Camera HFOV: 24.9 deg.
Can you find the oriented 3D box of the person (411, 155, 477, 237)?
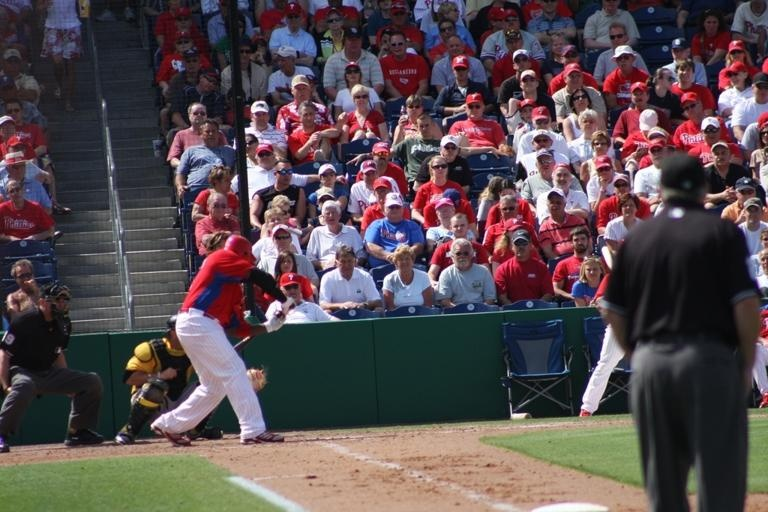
[{"bbox_3d":[0.815,-0.824,27.163,0.889,1.510,0.799,-2,-5,11],"label":"person"}]

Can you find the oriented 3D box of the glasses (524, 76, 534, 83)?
[{"bbox_3d":[2.366,-2.919,28.774,0.108,0.105,0.109,-1,-1,7],"label":"glasses"}]

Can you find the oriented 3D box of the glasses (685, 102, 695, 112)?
[{"bbox_3d":[5.009,-2.455,28.701,0.167,0.074,0.154,16,-28,-30],"label":"glasses"}]

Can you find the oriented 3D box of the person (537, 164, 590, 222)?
[{"bbox_3d":[2.745,-0.894,27.139,0.853,1.156,0.562,0,-9,-12],"label":"person"}]

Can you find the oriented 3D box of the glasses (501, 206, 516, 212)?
[{"bbox_3d":[1.893,-0.715,26.586,0.171,0.081,0.052,-2,-2,3],"label":"glasses"}]

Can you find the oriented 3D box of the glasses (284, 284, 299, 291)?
[{"bbox_3d":[-1.360,0.456,25.190,0.120,0.089,0.197,-1,-14,-2],"label":"glasses"}]

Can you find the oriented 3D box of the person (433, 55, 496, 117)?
[{"bbox_3d":[1.386,-2.876,29.427,1.179,1.039,0.721,-6,-5,23],"label":"person"}]

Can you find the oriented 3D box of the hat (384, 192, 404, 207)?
[{"bbox_3d":[0.121,-0.859,26.634,0.242,0.184,0.353,2,1,-3],"label":"hat"}]

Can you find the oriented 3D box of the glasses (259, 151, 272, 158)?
[{"bbox_3d":[-1.889,-1.597,27.382,0.101,0.099,0.028,-7,-15,-2],"label":"glasses"}]

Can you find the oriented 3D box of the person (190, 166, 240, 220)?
[{"bbox_3d":[-2.550,-0.921,26.320,0.819,0.823,0.479,-2,-3,-30],"label":"person"}]

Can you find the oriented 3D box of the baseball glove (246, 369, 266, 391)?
[{"bbox_3d":[-1.786,1.711,24.150,0.234,0.277,0.316,11,-30,-31],"label":"baseball glove"}]

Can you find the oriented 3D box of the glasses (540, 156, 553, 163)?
[{"bbox_3d":[2.548,-1.529,27.457,0.223,0.086,0.095,-1,-2,-30],"label":"glasses"}]

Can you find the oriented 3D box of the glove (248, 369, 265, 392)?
[{"bbox_3d":[-1.760,1.708,24.152,0.231,0.271,0.311,11,-30,-30],"label":"glove"}]

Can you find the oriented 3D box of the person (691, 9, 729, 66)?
[{"bbox_3d":[5.763,-3.865,30.917,0.679,0.991,0.797,0,9,8],"label":"person"}]

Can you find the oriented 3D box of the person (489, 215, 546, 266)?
[{"bbox_3d":[1.949,-0.218,26.308,0.554,0.452,0.864,0,4,-19],"label":"person"}]

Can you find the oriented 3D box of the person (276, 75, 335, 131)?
[{"bbox_3d":[-1.426,-2.413,28.551,0.963,0.897,0.531,-10,23,23],"label":"person"}]

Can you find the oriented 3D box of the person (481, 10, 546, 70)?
[{"bbox_3d":[2.228,-3.693,30.532,1.262,1.222,0.702,-3,12,-1],"label":"person"}]

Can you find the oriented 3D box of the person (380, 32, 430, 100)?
[{"bbox_3d":[0.298,-3.197,29.933,0.955,1.204,0.812,1,16,12],"label":"person"}]

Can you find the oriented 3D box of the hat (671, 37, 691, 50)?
[{"bbox_3d":[5.054,-3.674,30.231,0.272,0.219,0.418,-1,0,31],"label":"hat"}]

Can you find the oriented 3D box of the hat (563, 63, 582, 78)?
[{"bbox_3d":[3.111,-3.094,29.079,0.266,0.209,0.431,-9,-10,-4],"label":"hat"}]

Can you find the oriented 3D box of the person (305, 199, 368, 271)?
[{"bbox_3d":[-0.763,-0.302,26.545,0.995,1.073,0.674,-7,-12,2],"label":"person"}]

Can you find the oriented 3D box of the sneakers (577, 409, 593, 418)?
[{"bbox_3d":[2.849,2.260,24.968,0.155,0.157,0.099,1,0,16],"label":"sneakers"}]

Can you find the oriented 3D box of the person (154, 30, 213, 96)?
[{"bbox_3d":[-3.216,-3.079,27.681,0.920,1.001,0.238,-3,-2,29],"label":"person"}]

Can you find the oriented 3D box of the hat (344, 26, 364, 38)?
[{"bbox_3d":[-0.545,-3.818,29.747,0.261,0.345,0.413,2,1,-7],"label":"hat"}]

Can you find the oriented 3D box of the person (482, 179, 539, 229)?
[{"bbox_3d":[1.925,-0.778,26.972,0.585,0.707,0.414,-13,-18,9],"label":"person"}]

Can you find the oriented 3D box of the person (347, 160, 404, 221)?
[{"bbox_3d":[-0.221,-1.250,27.785,0.721,1.190,0.376,6,-4,27],"label":"person"}]

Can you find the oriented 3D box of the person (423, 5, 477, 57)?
[{"bbox_3d":[1.093,-3.921,30.615,1.060,1.017,0.605,-7,6,-18],"label":"person"}]

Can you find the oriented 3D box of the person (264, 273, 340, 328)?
[{"bbox_3d":[-1.340,0.721,25.364,1.470,0.817,0.485,-2,-17,-17],"label":"person"}]

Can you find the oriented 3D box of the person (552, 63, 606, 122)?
[{"bbox_3d":[3.196,-2.696,29.139,0.874,1.236,0.678,-6,-19,1],"label":"person"}]

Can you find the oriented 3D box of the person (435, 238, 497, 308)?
[{"bbox_3d":[1.178,0.342,25.913,0.929,1.145,0.656,-5,3,0],"label":"person"}]

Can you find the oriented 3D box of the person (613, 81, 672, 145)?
[{"bbox_3d":[4.190,-2.337,28.786,1.100,1.060,0.642,-5,1,15],"label":"person"}]

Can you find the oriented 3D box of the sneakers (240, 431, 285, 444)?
[{"bbox_3d":[-1.646,2.450,23.370,0.601,0.239,0.202,-1,-1,-10],"label":"sneakers"}]

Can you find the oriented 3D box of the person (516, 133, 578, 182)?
[{"bbox_3d":[2.567,-1.541,27.785,0.783,0.784,0.306,1,-4,-3],"label":"person"}]

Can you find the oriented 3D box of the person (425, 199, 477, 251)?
[{"bbox_3d":[1.001,-0.439,26.818,0.923,0.975,0.546,-7,-3,-10],"label":"person"}]

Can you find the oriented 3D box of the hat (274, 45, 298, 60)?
[{"bbox_3d":[-1.639,-3.400,29.210,0.197,0.132,0.267,8,-5,40],"label":"hat"}]

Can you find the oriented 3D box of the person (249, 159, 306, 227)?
[{"bbox_3d":[-1.698,-0.979,27.342,1.009,1.365,0.939,1,1,-12],"label":"person"}]

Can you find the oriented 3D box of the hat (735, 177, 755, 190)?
[{"bbox_3d":[5.480,-1.079,26.641,0.214,0.182,0.317,5,-22,9],"label":"hat"}]

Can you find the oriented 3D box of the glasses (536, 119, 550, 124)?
[{"bbox_3d":[2.544,-2.187,28.112,0.133,0.095,0.220,-2,13,12],"label":"glasses"}]

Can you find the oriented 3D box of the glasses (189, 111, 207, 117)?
[{"bbox_3d":[-2.953,-2.258,27.630,0.224,0.099,0.075,-1,-2,-20],"label":"glasses"}]

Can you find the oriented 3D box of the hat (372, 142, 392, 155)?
[{"bbox_3d":[-0.078,-1.705,27.687,0.179,0.125,0.242,2,-16,-6],"label":"hat"}]

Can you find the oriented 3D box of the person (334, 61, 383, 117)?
[{"bbox_3d":[-0.498,-2.700,29.129,0.807,1.199,0.673,-6,-9,3],"label":"person"}]

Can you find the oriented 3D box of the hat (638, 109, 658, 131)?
[{"bbox_3d":[4.282,-2.194,28.439,0.249,0.352,0.186,1,-29,16],"label":"hat"}]

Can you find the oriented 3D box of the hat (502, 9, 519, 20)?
[{"bbox_3d":[2.242,-4.275,30.633,0.255,0.191,0.415,-3,-2,4],"label":"hat"}]

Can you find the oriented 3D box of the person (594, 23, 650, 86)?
[{"bbox_3d":[4.010,-3.466,30.196,0.935,1.011,0.657,-2,7,16],"label":"person"}]

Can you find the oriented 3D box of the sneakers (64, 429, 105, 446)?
[{"bbox_3d":[-4.165,2.528,24.189,0.541,0.285,0.212,-1,2,-8],"label":"sneakers"}]

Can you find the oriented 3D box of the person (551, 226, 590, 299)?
[{"bbox_3d":[2.867,0.125,26.043,0.853,1.126,0.752,-1,0,19],"label":"person"}]

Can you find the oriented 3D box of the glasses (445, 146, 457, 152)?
[{"bbox_3d":[1.026,-1.694,27.537,0.107,0.033,0.114,4,-43,9],"label":"glasses"}]

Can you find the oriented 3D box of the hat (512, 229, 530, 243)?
[{"bbox_3d":[2.017,-0.287,25.998,0.278,0.225,0.323,-2,-2,4],"label":"hat"}]
